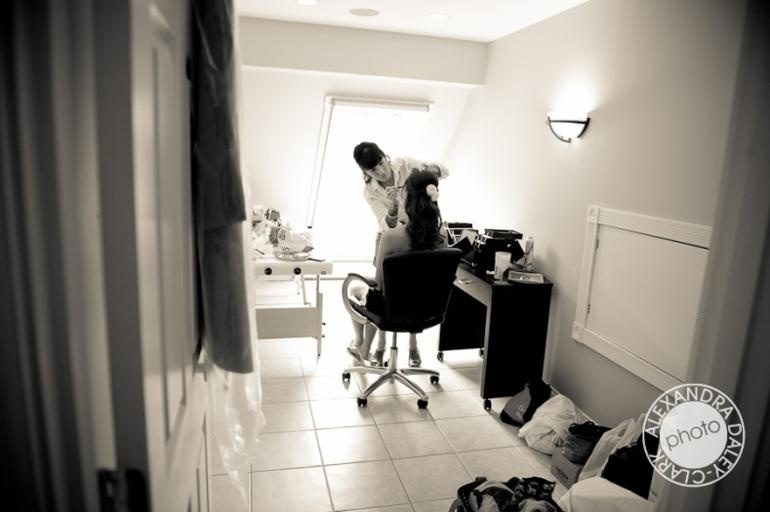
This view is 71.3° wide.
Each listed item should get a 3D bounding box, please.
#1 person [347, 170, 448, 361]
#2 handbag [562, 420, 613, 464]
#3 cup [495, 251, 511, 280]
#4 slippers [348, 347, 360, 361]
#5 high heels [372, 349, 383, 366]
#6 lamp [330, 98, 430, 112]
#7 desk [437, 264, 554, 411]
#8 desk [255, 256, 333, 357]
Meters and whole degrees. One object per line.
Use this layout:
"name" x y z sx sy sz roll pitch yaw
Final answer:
"person" 0.079 0.127 3.452 0.565 1.388 0.948 1 14 -8
"handbag" 0.999 0.913 2.641 0.178 0.210 0.150 7 -12 -5
"cup" 0.734 0.049 3.397 0.086 0.164 0.144 0 14 -9
"slippers" -0.214 0.682 3.817 0.093 0.095 0.074 15 20 -19
"high heels" -0.039 0.700 3.685 0.055 0.113 0.111 1 8 -15
"lamp" -0.026 -1.337 4.672 0.703 0.125 0.061 -3 27 -16
"desk" 0.728 0.518 3.432 0.295 0.674 0.712 -1 16 -13
"desk" -0.727 0.235 4.162 0.528 0.564 0.840 0 13 -7
